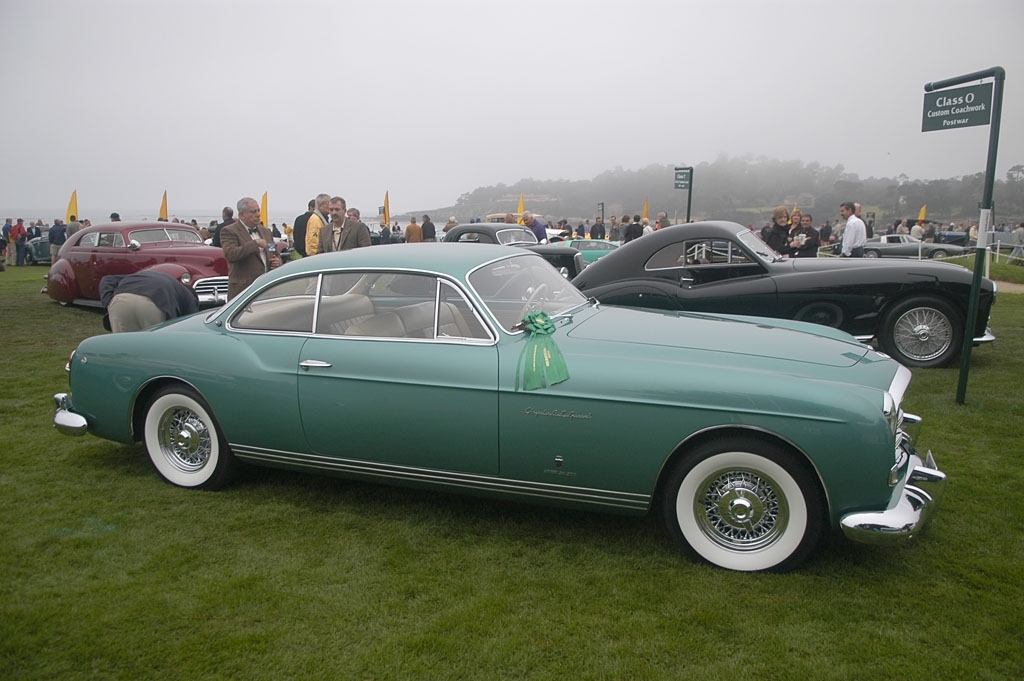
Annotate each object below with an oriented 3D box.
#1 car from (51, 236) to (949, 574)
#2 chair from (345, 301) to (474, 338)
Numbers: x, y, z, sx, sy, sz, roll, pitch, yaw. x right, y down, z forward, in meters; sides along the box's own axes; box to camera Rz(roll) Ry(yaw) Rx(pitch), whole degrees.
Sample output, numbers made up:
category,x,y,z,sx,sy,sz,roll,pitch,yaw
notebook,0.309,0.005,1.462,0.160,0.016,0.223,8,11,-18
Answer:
category,x,y,z,sx,sy,sz,roll,pitch,yaw
car,-0.117,0.369,4.387,6.042,2.111,0.738,1,9,14
chair,-0.758,-0.128,4.595,0.771,0.293,0.166,-3,8,2
